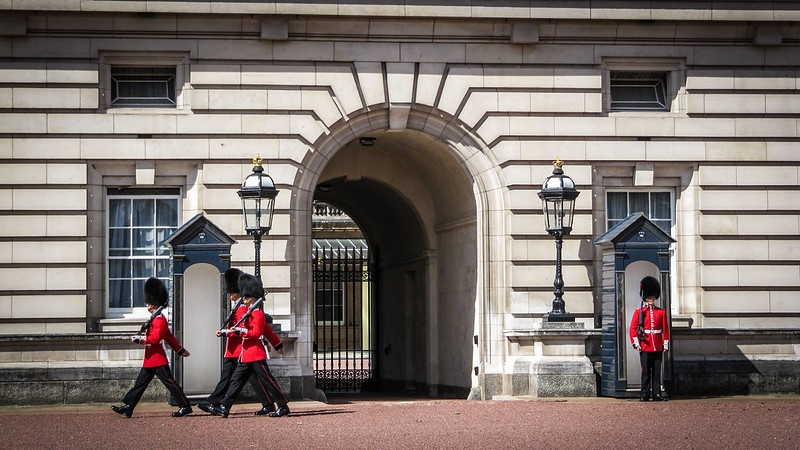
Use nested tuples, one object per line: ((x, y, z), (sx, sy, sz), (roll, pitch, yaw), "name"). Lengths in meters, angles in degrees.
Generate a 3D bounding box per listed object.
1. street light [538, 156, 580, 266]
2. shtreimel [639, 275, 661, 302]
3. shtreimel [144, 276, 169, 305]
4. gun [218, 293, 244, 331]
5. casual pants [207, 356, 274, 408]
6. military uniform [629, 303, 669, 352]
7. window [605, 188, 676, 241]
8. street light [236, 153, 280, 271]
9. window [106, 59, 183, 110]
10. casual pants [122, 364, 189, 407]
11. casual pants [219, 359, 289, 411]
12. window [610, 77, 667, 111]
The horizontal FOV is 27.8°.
((3.353, -0.267, 34.183), (0.789, 2.140, 0.496), (0, -9, -5), "street light")
((5.175, 1.324, 33.507), (0.452, 0.473, 0.477), (0, 19, 11), "shtreimel")
((-4.921, 1.338, 32.244), (0.444, 0.468, 0.572), (18, 4, 20), "shtreimel")
((-3.321, 1.747, 32.240), (0.283, 0.880, 0.159), (36, -23, 5), "gun")
((-3.188, 3.102, 32.116), (1.190, 0.908, 0.423), (6, -22, -5), "casual pants")
((5.171, 2.126, 33.429), (1.195, 1.083, 0.660), (0, -5, -8), "military uniform")
((5.194, -0.097, 35.400), (2.140, 1.570, 0.210), (0, -2, -37), "window")
((-2.963, -0.055, 33.776), (1.160, 2.676, 0.982), (1, 3, 19), "street light")
((-5.481, -2.993, 34.709), (2.131, 1.075, 0.096), (3, 8, 28), "window")
((-4.931, 3.111, 31.875), (0.408, 1.112, 1.778), (-19, -18, 42), "casual pants")
((-2.784, 3.123, 31.789), (1.576, 0.997, 0.364), (0, -4, 18), "casual pants")
((5.163, -2.815, 35.632), (1.260, 0.596, 0.063), (-3, 5, 5), "window")
